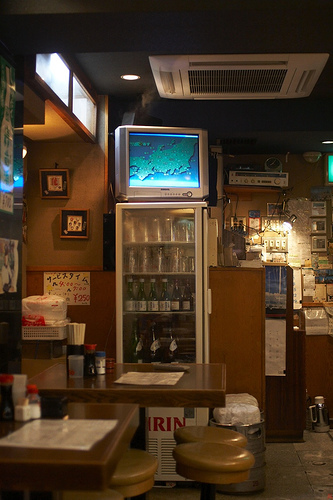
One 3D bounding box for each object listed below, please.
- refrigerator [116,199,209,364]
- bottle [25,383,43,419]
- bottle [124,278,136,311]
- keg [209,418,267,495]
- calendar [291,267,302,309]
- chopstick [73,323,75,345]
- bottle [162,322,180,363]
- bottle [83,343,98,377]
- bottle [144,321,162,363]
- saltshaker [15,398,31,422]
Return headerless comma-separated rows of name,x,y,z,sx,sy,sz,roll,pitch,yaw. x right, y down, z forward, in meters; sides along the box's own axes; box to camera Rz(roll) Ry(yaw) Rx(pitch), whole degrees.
refrigerator,-0.041,0.332,3.858,0.812,1.785,0.601,1,17,4
bottle,-0.432,0.488,1.342,0.058,0.107,0.060,0,-3,0
bottle,-0.317,0.386,3.582,0.101,0.265,0.094,0,-5,0
keg,0.482,1.457,3.003,0.365,0.634,0.391,2,-1,1
calendar,1.871,0.543,6.000,0.107,0.594,0.153,-2,-6,19
chopstick,-0.466,0.423,2.094,0.009,0.101,0.027,1,-5,-12
bottle,0.037,0.775,3.497,0.105,0.322,0.194,5,-7,-41
bottle,-0.388,0.554,2.125,0.073,0.155,0.153,1,-5,-10
bottle,-0.111,0.778,3.522,0.139,0.336,0.198,2,-5,-19
saltshaker,-0.444,0.491,1.282,0.042,0.064,0.028,2,-5,-18
